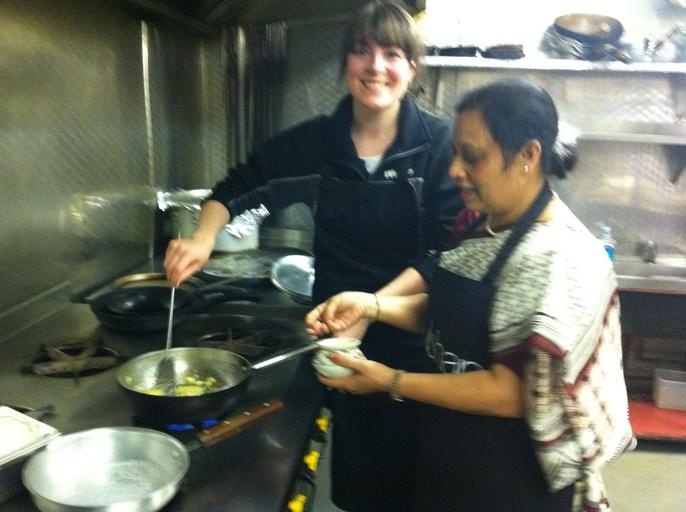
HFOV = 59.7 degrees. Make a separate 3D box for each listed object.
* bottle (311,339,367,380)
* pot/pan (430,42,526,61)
[{"bbox_3d":[-0.014,0.247,1.425,0.102,0.058,0.098,1,-1,0],"label":"bottle"},{"bbox_3d":[0.338,-0.528,1.542,0.242,0.039,0.055,8,18,24],"label":"pot/pan"}]
